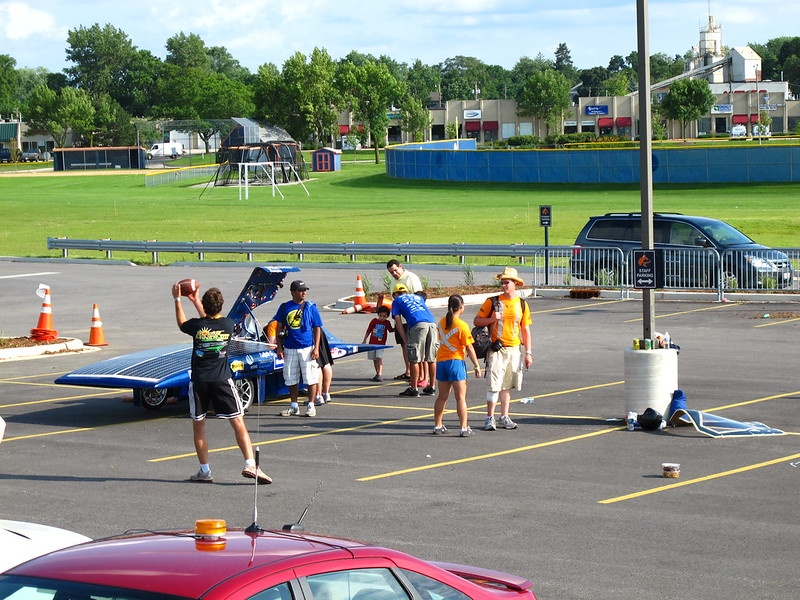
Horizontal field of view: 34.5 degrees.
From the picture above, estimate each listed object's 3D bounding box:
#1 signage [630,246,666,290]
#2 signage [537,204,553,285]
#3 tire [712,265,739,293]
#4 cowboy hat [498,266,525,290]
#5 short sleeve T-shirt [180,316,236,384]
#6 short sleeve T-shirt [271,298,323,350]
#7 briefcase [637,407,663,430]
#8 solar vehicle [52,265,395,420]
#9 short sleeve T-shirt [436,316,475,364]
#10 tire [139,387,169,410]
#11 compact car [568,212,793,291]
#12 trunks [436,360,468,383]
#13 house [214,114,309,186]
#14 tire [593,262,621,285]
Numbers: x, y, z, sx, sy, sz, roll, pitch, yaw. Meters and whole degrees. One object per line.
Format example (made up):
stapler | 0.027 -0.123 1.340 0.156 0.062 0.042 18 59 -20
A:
signage | 3.582 -0.441 18.430 0.416 0.618 0.930 -1 6 10
signage | 3.706 -1.318 32.331 0.370 2.069 0.241 3 8 33
tire | 7.752 -0.480 30.382 0.658 0.600 0.228 -4 3 16
cowboy hat | 2.137 -0.399 24.216 0.603 0.227 0.489 20 -12 -29
short sleeve T-shirt | -2.378 0.605 15.876 0.597 0.774 0.338 -3 6 -10
short sleeve T-shirt | -1.493 0.346 18.954 0.737 0.663 0.409 1 8 11
briefcase | 3.486 1.664 17.846 0.267 0.273 0.332 3 -5 14
solar vehicle | -2.855 0.809 20.062 1.988 1.820 4.502 3 4 43
short sleeve T-shirt | 0.762 0.558 17.766 0.365 0.572 0.698 0 -2 -45
tire | -3.721 1.460 19.326 0.460 0.417 0.169 7 -1 -24
compact car | 6.805 -1.185 31.244 5.256 1.769 1.257 2 7 30
trunks | 0.725 0.994 17.686 0.452 0.303 0.316 -6 -15 42
house | -11.011 -11.011 98.715 8.122 4.790 7.965 5 7 24
tire | 5.219 -0.636 32.063 0.597 0.526 0.138 -4 -15 24
